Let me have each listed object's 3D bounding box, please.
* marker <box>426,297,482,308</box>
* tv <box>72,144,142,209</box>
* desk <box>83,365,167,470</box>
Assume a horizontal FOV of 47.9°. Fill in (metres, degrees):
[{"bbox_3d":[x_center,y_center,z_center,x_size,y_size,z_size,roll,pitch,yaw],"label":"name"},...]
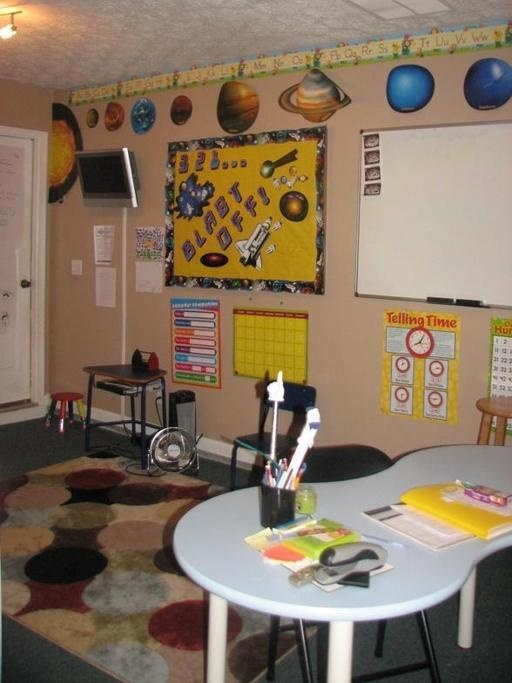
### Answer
[{"bbox_3d":[1.061,-0.204,3.068,0.300,0.046,0.012,6,9,35],"label":"marker"},{"bbox_3d":[-1.177,-1.273,4.552,0.611,0.425,0.174,6,8,34],"label":"tv"},{"bbox_3d":[-0.961,0.581,4.319,0.725,0.614,0.391,1,0,39],"label":"desk"}]
